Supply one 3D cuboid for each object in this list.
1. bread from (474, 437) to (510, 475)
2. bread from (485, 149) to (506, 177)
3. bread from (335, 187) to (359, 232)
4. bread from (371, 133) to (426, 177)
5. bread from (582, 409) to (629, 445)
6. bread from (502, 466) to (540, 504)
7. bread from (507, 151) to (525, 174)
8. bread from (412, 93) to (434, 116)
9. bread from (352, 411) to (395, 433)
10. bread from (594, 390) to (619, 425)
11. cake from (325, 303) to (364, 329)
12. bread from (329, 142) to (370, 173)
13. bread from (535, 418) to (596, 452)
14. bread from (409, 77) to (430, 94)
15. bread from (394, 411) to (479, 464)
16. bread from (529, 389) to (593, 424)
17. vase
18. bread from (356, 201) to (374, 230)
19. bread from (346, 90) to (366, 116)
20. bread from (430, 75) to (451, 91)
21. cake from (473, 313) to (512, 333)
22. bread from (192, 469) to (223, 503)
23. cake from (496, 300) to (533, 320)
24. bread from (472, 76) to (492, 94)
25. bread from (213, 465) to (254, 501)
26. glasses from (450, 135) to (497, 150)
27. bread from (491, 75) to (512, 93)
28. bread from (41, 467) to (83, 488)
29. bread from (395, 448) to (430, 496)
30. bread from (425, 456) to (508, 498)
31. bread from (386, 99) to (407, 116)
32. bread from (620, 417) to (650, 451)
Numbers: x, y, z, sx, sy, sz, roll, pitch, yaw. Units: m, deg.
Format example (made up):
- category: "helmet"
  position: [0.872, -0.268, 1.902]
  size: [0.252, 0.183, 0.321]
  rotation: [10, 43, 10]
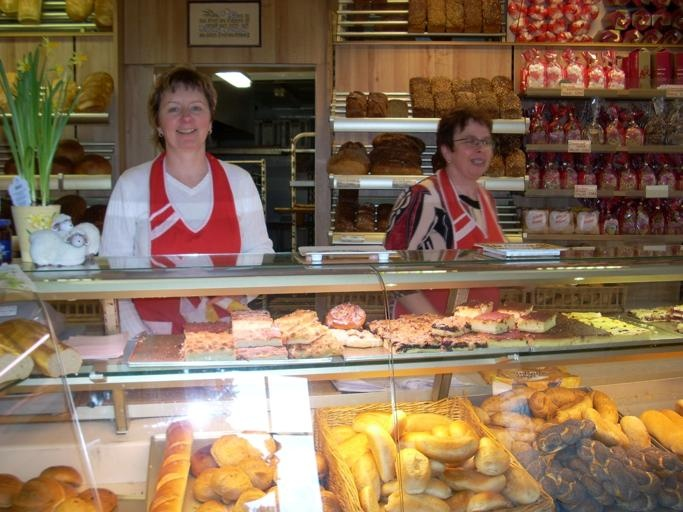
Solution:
- category: "bread"
  position: [0.453, 0.606, 1.799]
  size: [0.070, 0.038, 0.112]
  rotation: [-6, 20, 0]
- category: "bread"
  position: [1.075, -0.626, 4.075]
  size: [0.161, 0.194, 0.067]
  rotation: [2, -13, 17]
- category: "bread"
  position: [0.042, -0.324, 4.156]
  size: [0.170, 0.249, 0.401]
  rotation: [1, 13, 2]
- category: "bread"
  position: [0.382, -0.670, 4.027]
  size: [0.297, 0.103, 0.362]
  rotation: [2, 35, 7]
- category: "bread"
  position: [0.843, 0.563, 1.914]
  size: [0.153, 0.050, 0.077]
  rotation: [41, 42, 5]
- category: "bread"
  position: [0.522, 0.679, 1.740]
  size: [0.066, 0.040, 0.123]
  rotation: [-34, 40, -20]
- category: "bread"
  position: [1.228, -0.650, 4.112]
  size: [0.144, 0.186, 0.207]
  rotation: [4, 14, 14]
- category: "bread"
  position: [0.554, -1.022, 4.084]
  size: [0.152, 0.184, 0.110]
  rotation: [-1, -30, -1]
- category: "bread"
  position: [0.101, 0.509, 1.795]
  size: [0.084, 0.022, 0.062]
  rotation: [1, 6, -9]
- category: "bread"
  position: [0.856, 0.489, 1.902]
  size: [0.038, 0.107, 0.059]
  rotation: [-35, 21, 32]
- category: "cake"
  position: [0.014, 0.184, 1.768]
  size: [0.094, 0.027, 0.085]
  rotation: [-4, 31, -16]
- category: "bread"
  position: [0.054, -0.665, 4.019]
  size: [0.278, 0.204, 0.343]
  rotation: [1, 13, 1]
- category: "bread"
  position: [0.712, 0.561, 1.884]
  size: [0.181, 0.049, 0.087]
  rotation: [-14, 8, -6]
- category: "bread"
  position: [0.573, -1.220, 4.225]
  size: [0.154, 0.124, 0.243]
  rotation: [2, 13, 5]
- category: "bread"
  position: [0.305, 0.548, 1.786]
  size: [0.171, 0.053, 0.155]
  rotation: [6, 7, -4]
- category: "bread"
  position: [0.710, 0.473, 1.898]
  size: [0.160, 0.054, 0.110]
  rotation: [-10, 27, -2]
- category: "vase"
  position: [-0.922, -0.075, 1.858]
  size: [0.183, 0.180, 0.175]
  rotation: [0, 1, -18]
- category: "bread"
  position: [0.172, -0.266, 4.121]
  size: [0.137, 0.150, 0.297]
  rotation: [1, 13, 2]
- category: "bread"
  position: [0.109, -1.045, 4.079]
  size: [0.146, 0.178, 0.280]
  rotation: [1, 13, 1]
- category: "bread"
  position: [0.723, -1.222, 4.217]
  size: [0.149, 0.123, 0.222]
  rotation: [2, 13, 7]
- category: "cake"
  position: [0.473, 0.197, 1.830]
  size: [0.080, 0.034, 0.083]
  rotation: [3, 8, 34]
- category: "bread"
  position: [-0.373, 0.632, 1.620]
  size: [0.074, 0.075, 0.043]
  rotation: [-2, 14, -11]
- category: "cake"
  position: [0.549, 0.167, 1.838]
  size: [0.070, 0.023, 0.071]
  rotation: [-8, 11, -42]
- category: "bread"
  position: [1.017, -1.214, 4.213]
  size: [0.155, 0.119, 0.244]
  rotation: [3, 13, 11]
- category: "bread"
  position: [-0.297, 0.625, 1.647]
  size: [0.097, 0.048, 0.094]
  rotation: [-12, 34, -41]
- category: "glasses"
  position: [0.606, -0.524, 2.728]
  size: [0.121, 0.033, 0.116]
  rotation: [1, -3, -14]
- category: "bread"
  position: [1.169, -1.233, 4.247]
  size: [0.149, 0.063, 0.167]
  rotation: [2, 24, 1]
- category: "bread"
  position: [-0.752, 0.587, 1.577]
  size: [0.076, 0.022, 0.071]
  rotation: [15, 5, -36]
- category: "bread"
  position: [0.201, 0.634, 1.705]
  size: [0.087, 0.104, 0.064]
  rotation: [7, -21, -25]
- category: "bread"
  position: [0.380, 0.654, 1.735]
  size: [0.181, 0.046, 0.094]
  rotation: [4, 7, 4]
- category: "bread"
  position: [0.392, -1.023, 4.109]
  size: [0.137, 0.090, 0.130]
  rotation: [3, 3, 6]
- category: "bread"
  position: [0.948, 0.564, 1.891]
  size: [0.060, 0.110, 0.040]
  rotation: [-25, -9, -12]
